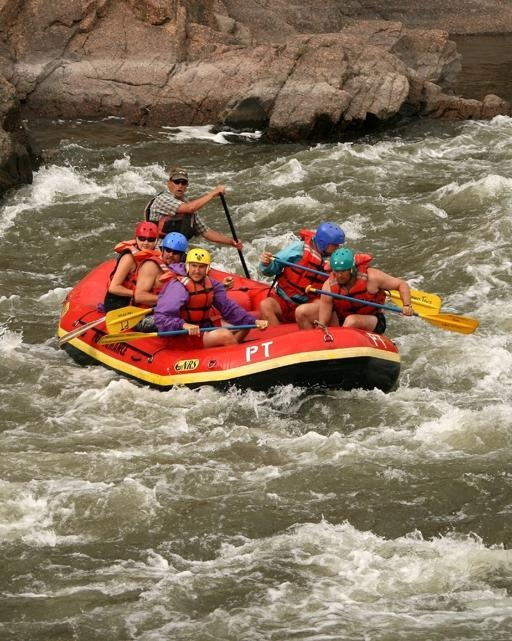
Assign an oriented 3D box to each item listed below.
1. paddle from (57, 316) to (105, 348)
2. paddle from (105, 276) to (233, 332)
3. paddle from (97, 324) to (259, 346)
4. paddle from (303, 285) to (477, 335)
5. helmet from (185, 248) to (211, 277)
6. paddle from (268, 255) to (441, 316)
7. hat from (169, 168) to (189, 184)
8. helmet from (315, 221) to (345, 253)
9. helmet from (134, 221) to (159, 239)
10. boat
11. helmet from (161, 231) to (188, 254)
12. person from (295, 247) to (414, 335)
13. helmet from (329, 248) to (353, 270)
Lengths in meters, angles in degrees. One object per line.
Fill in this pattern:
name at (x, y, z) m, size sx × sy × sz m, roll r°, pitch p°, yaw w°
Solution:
paddle at (-1.710, 0.116, 8.219) m, size 0.706 × 0.065 × 0.032 m, roll -24°, pitch 31°, yaw -2°
paddle at (-1.097, -0.127, 7.770) m, size 0.704 × 0.199 × 0.314 m, roll -21°, pitch 61°, yaw -10°
paddle at (-0.671, 0.129, 7.642) m, size 1.734 × 0.129 × 0.183 m, roll -1°, pitch 29°, yaw 7°
paddle at (1.268, -0.085, 8.020) m, size 2.186 × 0.188 × 0.250 m, roll 10°, pitch 31°, yaw -28°
helmet at (-0.502, -0.498, 7.340) m, size 0.219 × 0.273 × 0.219 m, roll -7°, pitch 15°, yaw -9°
paddle at (1.153, -0.238, 8.097) m, size 2.159 × 0.123 × 0.510 m, roll 13°, pitch 35°, yaw -6°
hat at (-0.797, -1.489, 8.542) m, size 0.188 × 0.148 × 0.207 m, roll -5°, pitch 13°, yaw -5°
helmet at (0.689, -0.795, 7.770) m, size 0.329 × 0.204 × 0.244 m, roll 21°, pitch 34°, yaw 20°
helmet at (-1.057, -0.841, 8.011) m, size 0.199 × 0.218 × 0.166 m, roll 4°, pitch 65°, yaw -6°
boat at (-0.584, 0.165, 7.694) m, size 2.652 × 0.462 × 1.495 m, roll 13°, pitch 25°, yaw 39°
helmet at (-0.739, -0.711, 7.761) m, size 0.215 × 0.169 × 0.249 m, roll 17°, pitch -16°, yaw 0°
person at (0.912, -0.248, 7.826) m, size 0.881 × 0.853 × 0.815 m, roll 28°, pitch 45°, yaw 34°
helmet at (0.754, -0.536, 7.227) m, size 0.200 × 0.187 × 0.182 m, roll 1°, pitch 7°, yaw 4°
